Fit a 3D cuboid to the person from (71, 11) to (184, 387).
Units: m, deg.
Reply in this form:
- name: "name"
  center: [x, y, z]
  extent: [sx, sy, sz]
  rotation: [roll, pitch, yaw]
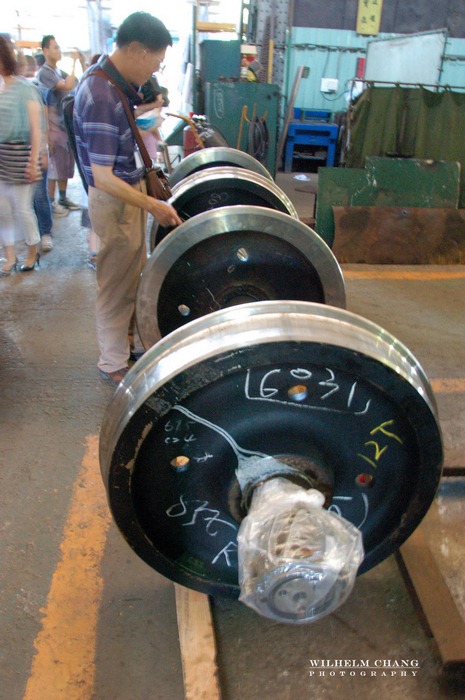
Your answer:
- name: "person"
  center: [-0.519, -0.650, 2.733]
  extent: [0.455, 1.789, 0.463]
  rotation: [-6, 33, -14]

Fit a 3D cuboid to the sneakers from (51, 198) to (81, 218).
- name: "sneakers"
  center: [-1.921, -1.642, 6.339]
  extent: [0.448, 0.191, 0.148]
  rotation: [-12, 40, -22]

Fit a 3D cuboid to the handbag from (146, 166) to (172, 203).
- name: "handbag"
  center: [-0.380, -0.828, 2.775]
  extent: [0.058, 0.196, 0.139]
  rotation: [5, 44, 27]
